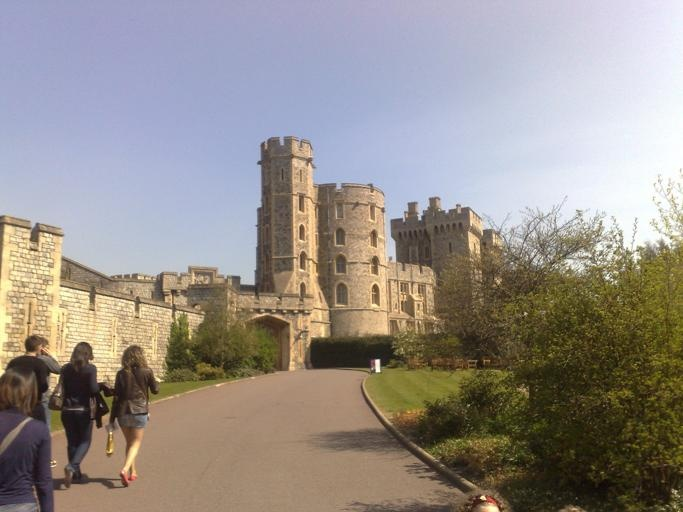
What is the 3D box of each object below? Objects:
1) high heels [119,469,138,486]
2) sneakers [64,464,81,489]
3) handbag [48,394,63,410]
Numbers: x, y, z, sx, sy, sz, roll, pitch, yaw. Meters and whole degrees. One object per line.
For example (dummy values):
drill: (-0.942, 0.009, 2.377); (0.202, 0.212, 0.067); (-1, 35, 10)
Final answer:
high heels: (-3.383, 3.562, 10.419); (0.135, 0.167, 0.411); (-2, -48, 3)
sneakers: (-4.249, 3.489, 10.362); (0.156, 0.522, 0.214); (1, 11, -10)
handbag: (-4.656, 2.375, 10.626); (0.196, 0.236, 0.208); (-2, -11, -2)
